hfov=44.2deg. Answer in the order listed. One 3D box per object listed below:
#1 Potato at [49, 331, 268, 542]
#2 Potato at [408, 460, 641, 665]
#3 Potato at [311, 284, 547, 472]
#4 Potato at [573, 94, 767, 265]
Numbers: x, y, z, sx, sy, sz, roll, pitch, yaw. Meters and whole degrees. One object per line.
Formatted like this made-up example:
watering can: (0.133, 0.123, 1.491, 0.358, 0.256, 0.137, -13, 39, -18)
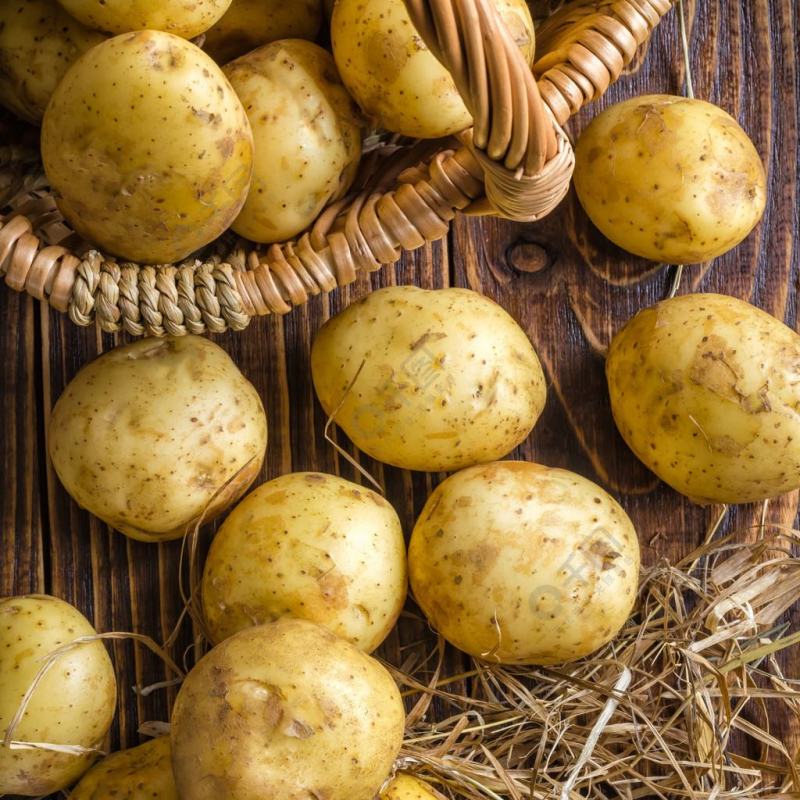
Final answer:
Potato: (-0.197, 0.027, 0.860, 0.177, 0.133, 0.156, 23, 82, -21)
Potato: (0.100, 0.138, 0.817, 0.187, 0.147, 0.151, 3, 57, 3)
Potato: (0.027, -0.026, 0.868, 0.216, 0.126, 0.138, 15, 91, 2)
Potato: (0.230, -0.204, 0.909, 0.178, 0.126, 0.135, 27, 61, 33)
